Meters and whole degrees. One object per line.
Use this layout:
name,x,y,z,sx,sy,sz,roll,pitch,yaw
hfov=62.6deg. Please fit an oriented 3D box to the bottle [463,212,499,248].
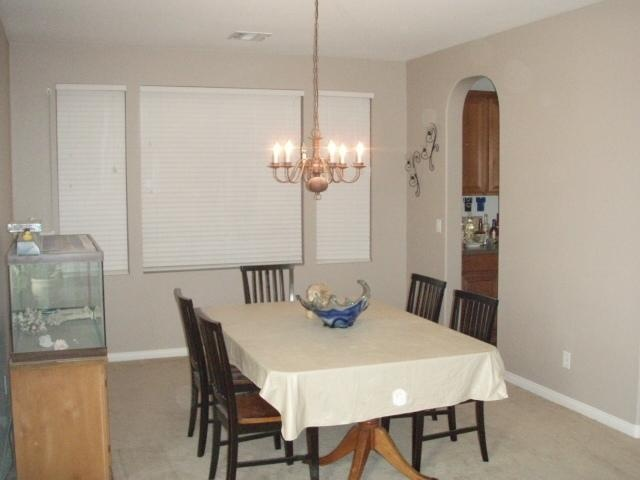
bottle,1.890,-0.105,6.243,0.422,0.411,0.150,1,-4,-18

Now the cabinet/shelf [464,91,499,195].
cabinet/shelf,1.834,-1.108,6.074,0.494,1.177,0.181,-5,12,-19
